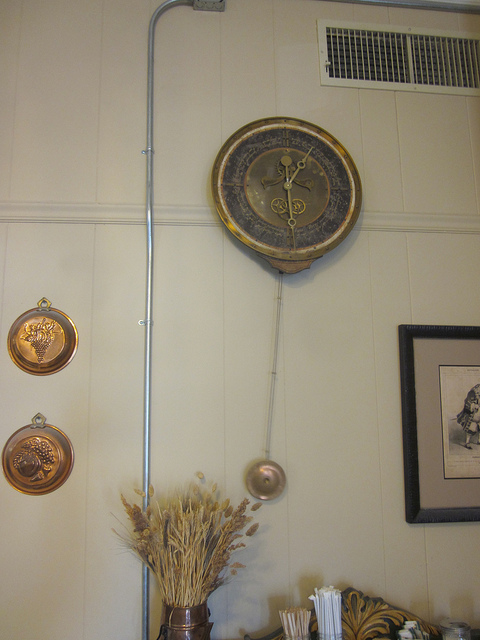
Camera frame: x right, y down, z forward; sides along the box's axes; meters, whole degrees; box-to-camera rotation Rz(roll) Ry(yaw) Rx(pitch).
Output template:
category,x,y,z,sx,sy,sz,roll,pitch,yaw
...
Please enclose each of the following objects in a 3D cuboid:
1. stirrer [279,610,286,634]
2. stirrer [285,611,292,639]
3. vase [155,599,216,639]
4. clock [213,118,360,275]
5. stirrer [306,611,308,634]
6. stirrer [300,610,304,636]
category,x,y,z,sx,sy,sz,roll,pitch,yaw
stirrer,0.137,0.986,2.850,0.012,0.070,0.010,-3,2,14
stirrer,0.158,0.988,2.818,0.021,0.081,0.009,-2,-11,2
vase,-0.183,0.937,2.767,0.148,0.131,0.121,-3,-6,5
clock,0.174,-0.472,3.481,0.557,0.577,0.585,5,-10,-11
stirrer,0.220,0.980,2.834,0.005,0.069,0.038,-2,-11,3
stirrer,0.201,0.980,2.821,0.011,0.077,0.011,-9,-13,34
